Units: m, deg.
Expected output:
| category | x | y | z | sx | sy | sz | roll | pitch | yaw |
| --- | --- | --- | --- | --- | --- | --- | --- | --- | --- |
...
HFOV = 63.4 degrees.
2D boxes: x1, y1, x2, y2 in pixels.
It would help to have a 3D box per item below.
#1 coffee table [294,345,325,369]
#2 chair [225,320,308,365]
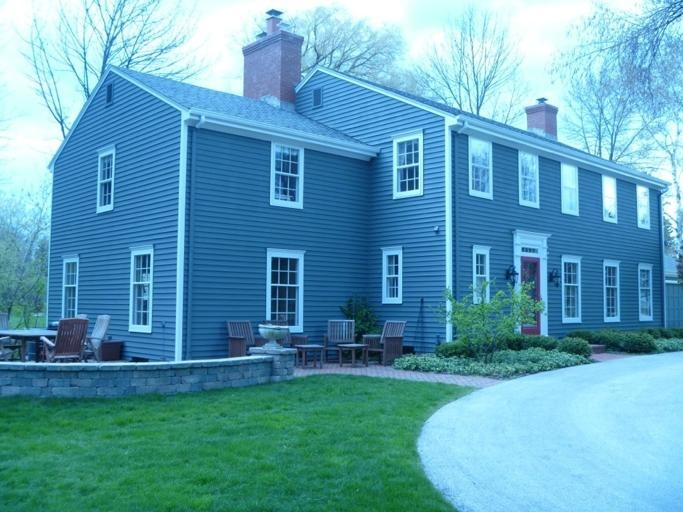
| category | x | y | z | sx | sy | sz | roll | pitch | yaw |
| --- | --- | --- | --- | --- | --- | --- | --- | --- | --- |
| coffee table | -0.773 | 2.526 | 14.328 | 0.653 | 0.675 | 0.674 | 0 | -4 | -13 |
| chair | -1.818 | 2.011 | 12.932 | 1.232 | 0.840 | 0.511 | 5 | -8 | -40 |
